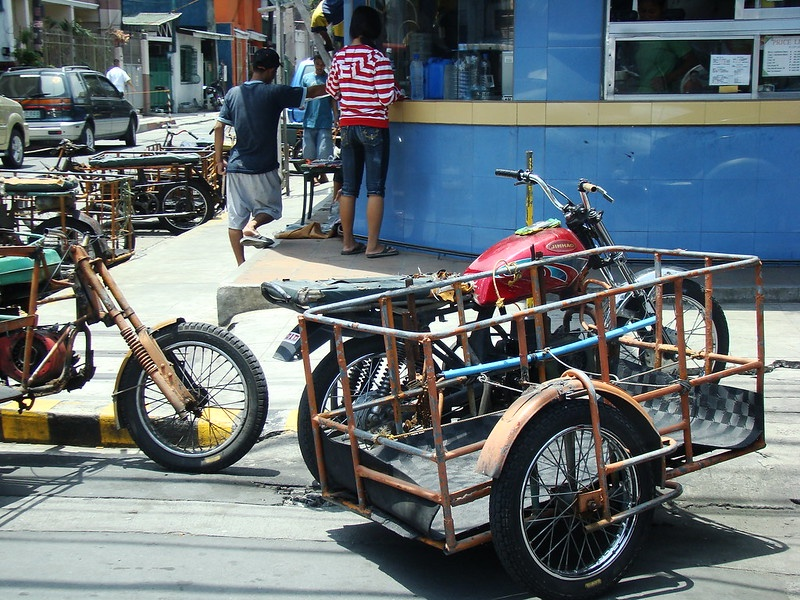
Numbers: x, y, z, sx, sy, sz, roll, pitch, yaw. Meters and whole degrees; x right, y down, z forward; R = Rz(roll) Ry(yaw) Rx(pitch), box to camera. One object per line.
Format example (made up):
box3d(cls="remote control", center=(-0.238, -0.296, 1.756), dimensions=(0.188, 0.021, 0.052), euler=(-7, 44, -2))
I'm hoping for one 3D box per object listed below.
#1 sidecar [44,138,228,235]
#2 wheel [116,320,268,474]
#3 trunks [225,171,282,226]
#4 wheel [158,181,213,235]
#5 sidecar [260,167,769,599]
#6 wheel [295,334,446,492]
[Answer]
box3d(cls="sidecar", center=(-3.861, -1.632, 12.368), dimensions=(2.174, 1.107, 1.412), euler=(2, 4, 1))
box3d(cls="wheel", center=(-1.349, 0.662, 5.398), dimensions=(1.040, 0.907, 0.251), euler=(-3, 10, 14))
box3d(cls="trunks", center=(-1.576, -1.103, 9.075), dimensions=(0.638, 0.731, 0.428), euler=(1, 11, 7))
box3d(cls="wheel", center=(-3.237, -1.404, 12.679), dimensions=(0.932, 0.805, 0.328), euler=(-3, 6, -8))
box3d(cls="sidecar", center=(0.983, 0.382, 4.967), dimensions=(2.959, 1.754, 2.146), euler=(-14, 16, -36))
box3d(cls="wheel", center=(-0.144, 0.608, 4.488), dimensions=(1.099, 0.960, 0.304), euler=(-3, 2, -34))
